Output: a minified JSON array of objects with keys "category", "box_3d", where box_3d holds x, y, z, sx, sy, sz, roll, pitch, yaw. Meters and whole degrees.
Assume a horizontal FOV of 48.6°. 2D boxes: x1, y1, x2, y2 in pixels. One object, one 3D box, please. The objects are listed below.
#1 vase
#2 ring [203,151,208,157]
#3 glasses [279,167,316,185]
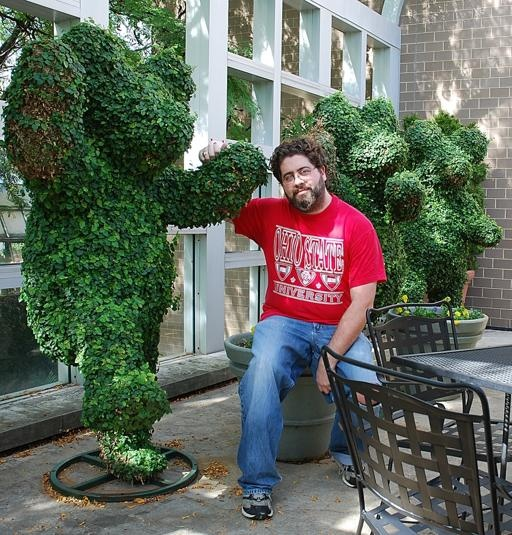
[{"category":"vase","box_3d":[0.130,0.698,3.068,0.635,0.465,0.591,-1,-3,4]},{"category":"ring","box_3d":[-0.233,-0.529,2.641,0.016,0.024,0.027,-16,-19,35]},{"category":"glasses","box_3d":[0.180,-0.401,2.513,0.169,0.082,0.092,1,2,17]}]
